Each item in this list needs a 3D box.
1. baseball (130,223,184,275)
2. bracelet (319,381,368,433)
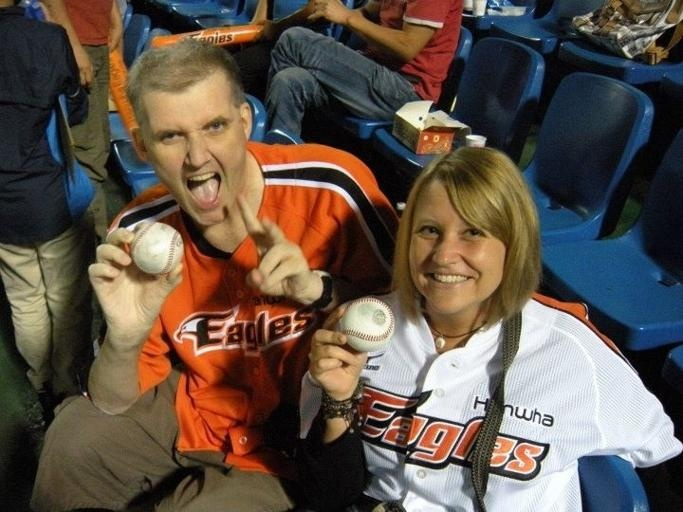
[{"bbox_3d":[-0.747,-0.027,2.399,0.200,0.118,0.202,3,75,-17],"label":"baseball"},{"bbox_3d":[0.006,0.593,2.411,0.168,0.191,0.162,-8,26,-15],"label":"bracelet"}]
